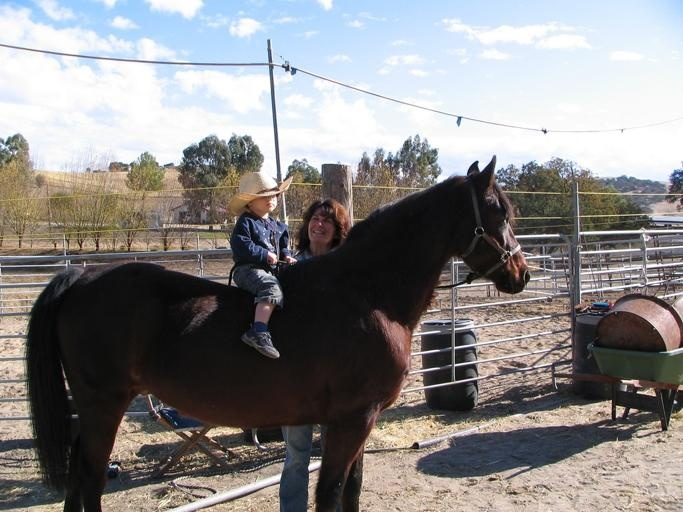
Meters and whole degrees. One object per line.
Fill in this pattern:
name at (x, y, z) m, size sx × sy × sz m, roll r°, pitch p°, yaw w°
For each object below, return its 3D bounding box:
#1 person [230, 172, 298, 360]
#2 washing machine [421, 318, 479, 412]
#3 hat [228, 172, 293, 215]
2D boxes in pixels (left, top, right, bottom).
person at (-0.608, 0.064, 4.231) m, size 0.457 × 1.388 × 0.743 m, roll -1°, pitch -1°, yaw -8°
washing machine at (1.386, 1.438, 7.175) m, size 0.798 × 1.160 × 0.972 m, roll -3°, pitch 2°, yaw -29°
hat at (-0.702, -0.576, 4.490) m, size 0.583 × 0.259 × 0.620 m, roll -21°, pitch 7°, yaw -31°
